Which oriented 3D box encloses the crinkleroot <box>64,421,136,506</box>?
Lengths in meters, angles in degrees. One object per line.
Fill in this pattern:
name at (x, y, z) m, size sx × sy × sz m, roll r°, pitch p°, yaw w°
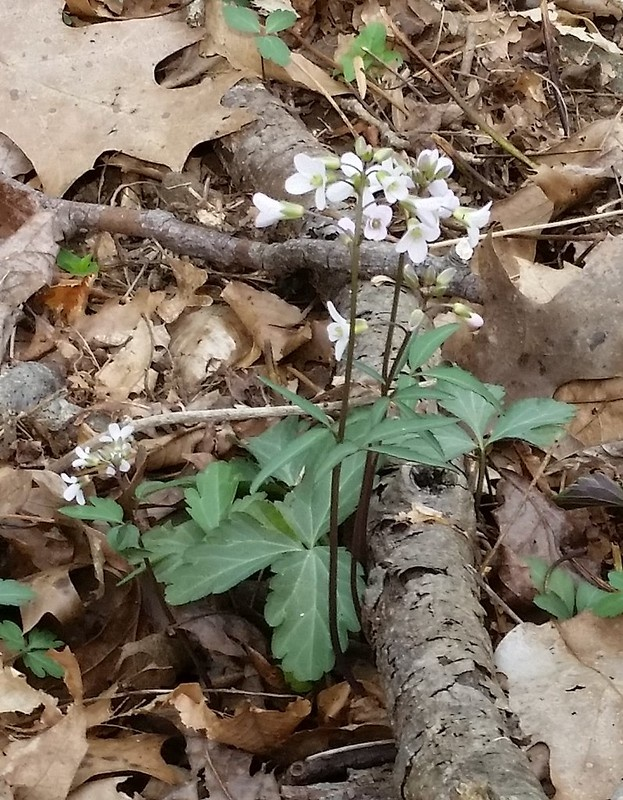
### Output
crinkleroot at (-0.747, 0.234, 2.825) m, size 0.118 × 0.245 × 0.277 m, roll 45°, pitch 33°, yaw 0°
